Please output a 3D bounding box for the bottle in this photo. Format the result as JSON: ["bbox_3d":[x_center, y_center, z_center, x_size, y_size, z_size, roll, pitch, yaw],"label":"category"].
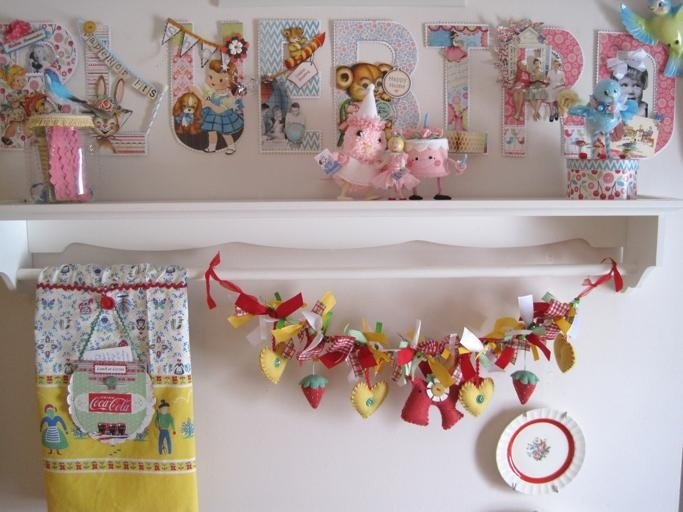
[{"bbox_3d":[-0.733,-0.238,1.758,0.196,0.258,0.206,0,1,0],"label":"bottle"}]
